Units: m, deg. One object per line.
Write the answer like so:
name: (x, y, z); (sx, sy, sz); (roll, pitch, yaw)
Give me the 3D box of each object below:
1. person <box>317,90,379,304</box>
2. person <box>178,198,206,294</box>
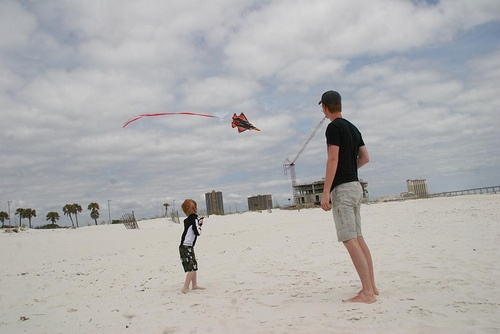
person: (1.907, 0.516, 6.095); (1.103, 3.785, 0.701); (-3, -3, -44)
person: (-1.466, 1.942, 7.850); (0.667, 1.573, 1.187); (-5, -2, -13)
